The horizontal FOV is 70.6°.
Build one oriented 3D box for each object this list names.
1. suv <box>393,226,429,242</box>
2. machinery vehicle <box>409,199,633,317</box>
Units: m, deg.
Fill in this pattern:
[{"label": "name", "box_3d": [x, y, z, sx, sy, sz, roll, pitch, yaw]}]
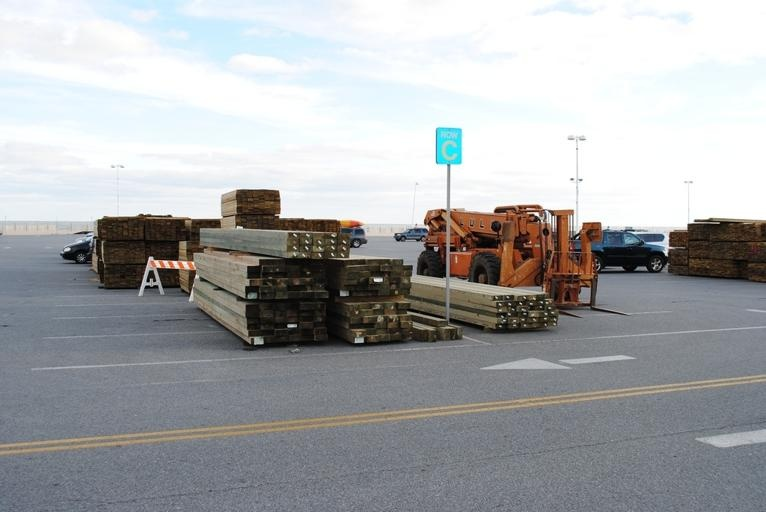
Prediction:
[{"label": "suv", "box_3d": [4.784, -3.909, 86.397, 6.769, 2.278, 3.103, 2, -2, -20]}, {"label": "machinery vehicle", "box_3d": [4.181, -0.064, 20.570, 3.875, 3.215, 10.009, -1, 1, -30]}]
